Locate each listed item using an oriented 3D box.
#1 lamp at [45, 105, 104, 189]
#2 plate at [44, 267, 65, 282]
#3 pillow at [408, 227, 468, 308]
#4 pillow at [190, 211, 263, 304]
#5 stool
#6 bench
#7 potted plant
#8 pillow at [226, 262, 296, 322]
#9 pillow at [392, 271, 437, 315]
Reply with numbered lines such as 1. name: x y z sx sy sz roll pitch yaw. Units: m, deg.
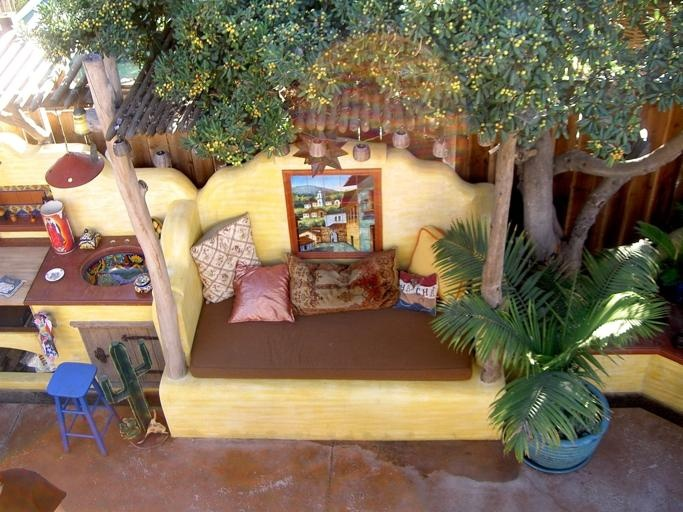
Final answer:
1. lamp: -2.367 -0.870 4.161 0.475 0.799 0.424 5 26 1
2. plate: -2.982 0.196 4.917 0.191 0.050 0.231 -4 30 -6
3. pillow: 0.927 0.090 4.784 0.248 0.625 0.600 7 18 -29
4. pillow: -1.190 0.037 4.825 0.429 0.656 0.841 17 43 24
5. stool: -2.533 1.385 4.491 0.475 0.876 0.820 -25 38 -35
6. bench: -0.034 0.321 4.709 3.302 2.352 1.694 -1 25 -2
7. potted plant: 1.741 0.467 4.066 2.189 1.421 2.144 -4 40 5
8. pillow: -0.780 0.398 4.797 0.569 0.174 0.547 -2 61 7
9. pillow: 0.751 0.364 4.634 0.397 0.384 0.121 9 6 22
